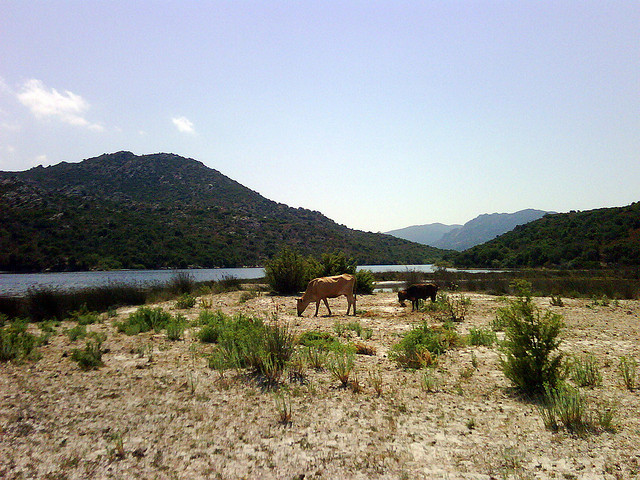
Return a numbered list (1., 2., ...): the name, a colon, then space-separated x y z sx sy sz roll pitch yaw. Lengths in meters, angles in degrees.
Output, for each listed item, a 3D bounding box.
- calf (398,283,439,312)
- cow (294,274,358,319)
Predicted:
1. calf: 4.494 2.419 17.960 1.645 0.995 1.122 -3 -4 27
2. cow: 0.317 2.196 16.765 2.305 1.559 2.376 -2 -4 10
